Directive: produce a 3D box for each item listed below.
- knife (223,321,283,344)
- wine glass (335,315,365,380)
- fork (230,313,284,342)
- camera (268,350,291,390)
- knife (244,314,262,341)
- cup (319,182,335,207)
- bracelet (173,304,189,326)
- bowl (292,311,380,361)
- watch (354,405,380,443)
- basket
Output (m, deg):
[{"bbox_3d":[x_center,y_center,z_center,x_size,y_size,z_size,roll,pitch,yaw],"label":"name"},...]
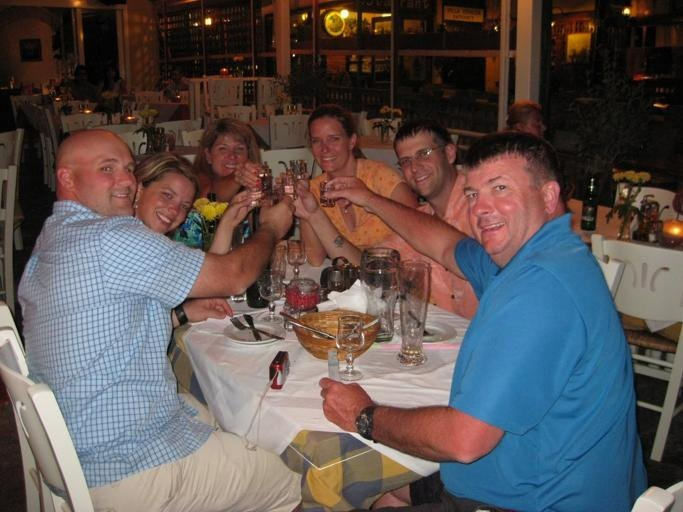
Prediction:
[{"bbox_3d":[-0.341,0.293,2.073,0.112,0.013,0.108,18,18,38],"label":"knife"},{"bbox_3d":[0.031,0.301,1.833,0.096,0.208,0.091,3,9,18],"label":"wine glass"},{"bbox_3d":[-0.327,0.246,2.095,0.082,0.044,0.282,4,7,-37],"label":"fork"},{"bbox_3d":[-0.199,0.372,1.826,0.047,0.094,0.142,6,14,7],"label":"camera"},{"bbox_3d":[-0.335,0.270,2.090,0.032,0.027,0.231,-33,25,1],"label":"knife"},{"bbox_3d":[-0.084,-0.323,2.950,0.106,0.159,0.109,2,14,-1],"label":"cup"},{"bbox_3d":[-0.637,0.239,2.198,0.020,0.073,0.075,-18,35,-14],"label":"bracelet"},{"bbox_3d":[0.012,0.268,1.953,0.245,0.093,0.240,-1,10,0],"label":"bowl"},{"bbox_3d":[0.072,0.470,1.547,0.067,0.032,0.080,41,11,-11],"label":"watch"},{"bbox_3d":[-0.039,0.261,1.968,0.200,0.077,0.201,-8,17,-28],"label":"basket"}]
